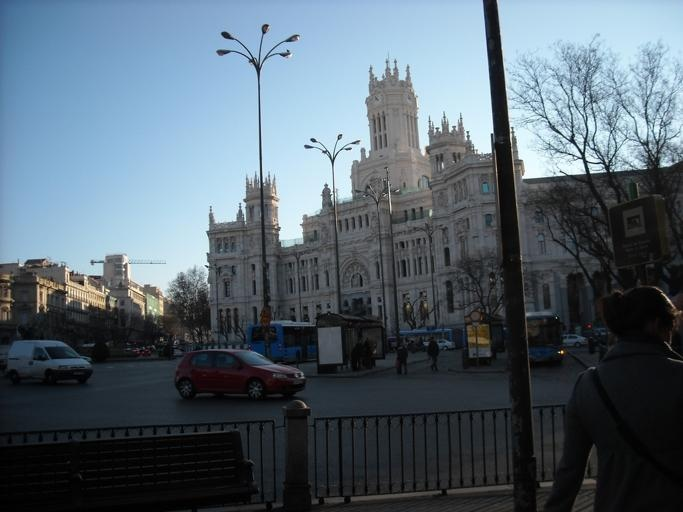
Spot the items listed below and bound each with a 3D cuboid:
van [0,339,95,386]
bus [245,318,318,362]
[{"bbox_3d":[-12.229,4.485,30.894,3.163,1.578,1.870,-8,-10,34],"label":"van"},{"bbox_3d":[-3.745,5.512,48.197,2.172,2.296,7.006,-2,-3,21],"label":"bus"}]
